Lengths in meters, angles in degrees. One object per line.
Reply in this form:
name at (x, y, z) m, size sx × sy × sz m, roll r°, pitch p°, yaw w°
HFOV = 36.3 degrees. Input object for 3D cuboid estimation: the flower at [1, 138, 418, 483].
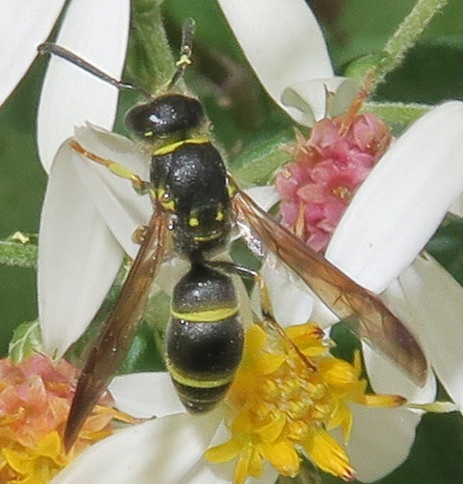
flower at (-0.003, 0.067, 0.826) m, size 0.431 × 0.328 × 0.119 m, roll -6°, pitch -7°, yaw -3°
